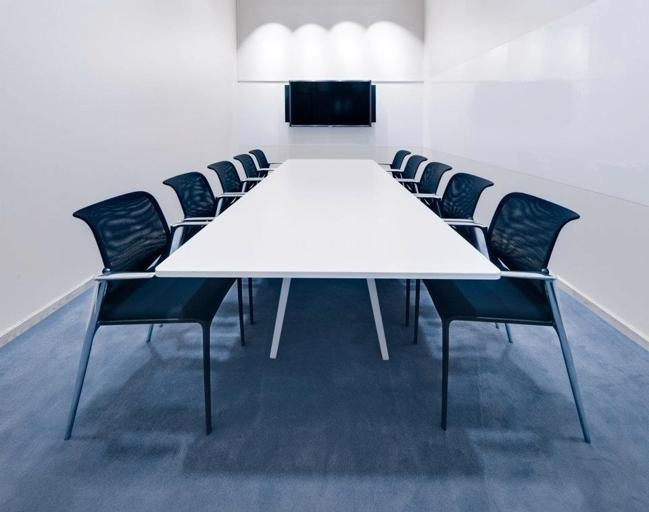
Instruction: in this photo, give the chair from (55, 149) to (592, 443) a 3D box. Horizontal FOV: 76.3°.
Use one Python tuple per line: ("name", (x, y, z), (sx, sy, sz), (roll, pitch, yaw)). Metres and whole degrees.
("chair", (0.349, 0.039, 2.791), (1.913, 1.040, 2.287), (0, 18, 2))
